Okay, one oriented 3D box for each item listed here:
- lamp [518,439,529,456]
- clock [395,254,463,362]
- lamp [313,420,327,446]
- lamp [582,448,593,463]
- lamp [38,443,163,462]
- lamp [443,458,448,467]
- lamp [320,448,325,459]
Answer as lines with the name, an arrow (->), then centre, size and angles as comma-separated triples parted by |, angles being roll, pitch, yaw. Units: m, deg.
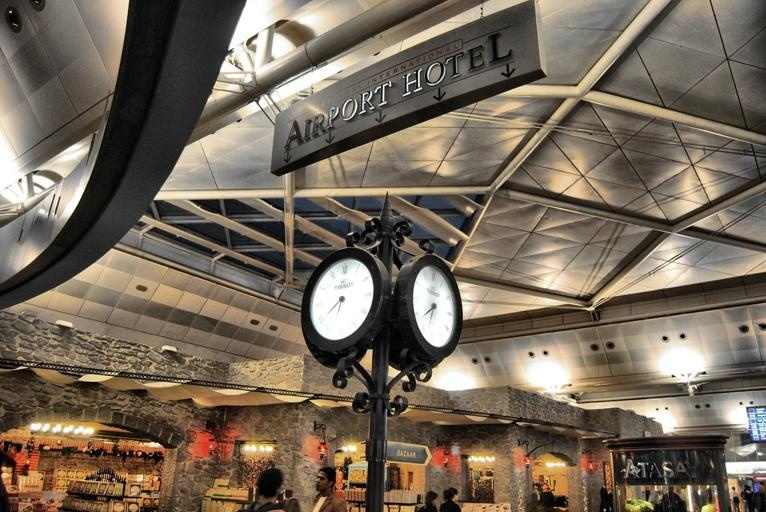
lamp -> 5.150, 6.845, 20.335 | 0.241, 0.498, 0.833 | -8, -27, 23
clock -> 0.573, 0.646, 6.981 | 1.001, 1.318, 0.383 | 24, -34, -34
lamp -> -1.734, 4.913, 15.649 | 0.162, 0.674, 0.647 | -15, -32, 32
lamp -> 8.980, 8.599, 24.411 | 0.193, 0.641, 0.681 | -14, -31, 31
lamp -> -9.371, 6.330, 18.605 | 3.524, 0.575, 0.845 | 12, -26, -20
lamp -> 2.282, 7.316, 20.031 | 0.135, 0.231, 0.044 | 11, -29, -13
lamp -> -1.669, 5.475, 15.604 | 0.156, 0.246, 0.288 | 5, -25, -1
